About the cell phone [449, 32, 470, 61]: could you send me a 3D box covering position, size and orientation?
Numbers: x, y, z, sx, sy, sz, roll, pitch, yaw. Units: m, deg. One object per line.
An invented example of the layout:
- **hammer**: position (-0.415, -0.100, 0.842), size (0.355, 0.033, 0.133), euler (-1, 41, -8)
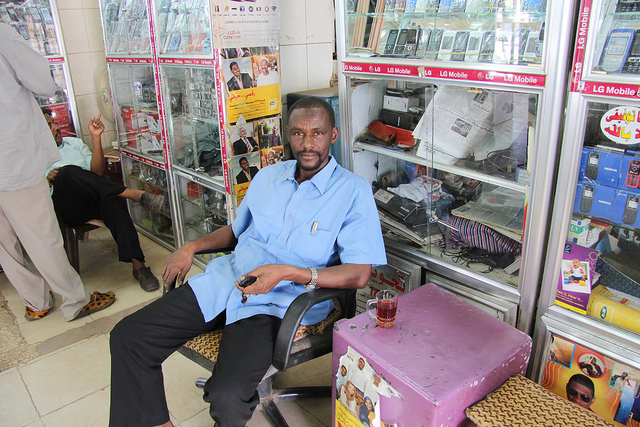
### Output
- **cell phone**: position (0.733, -0.890, 2.071), size (0.085, 0.159, 0.016), euler (13, 56, 22)

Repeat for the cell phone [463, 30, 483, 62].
- **cell phone**: position (0.794, -0.862, 2.005), size (0.081, 0.136, 0.062), euler (15, 27, 28)

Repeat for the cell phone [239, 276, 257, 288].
- **cell phone**: position (-0.362, 0.339, 1.916), size (0.041, 0.021, 0.071), euler (26, 44, 37)

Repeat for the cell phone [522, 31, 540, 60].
- **cell phone**: position (1.006, -0.791, 1.841), size (0.053, 0.114, 0.049), euler (23, 31, 39)

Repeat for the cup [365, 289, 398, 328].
- **cup**: position (0.340, 0.480, 2.054), size (0.194, 0.191, 0.129), euler (-8, 25, -17)

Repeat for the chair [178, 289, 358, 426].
- **chair**: position (-0.282, 0.771, 2.099), size (0.625, 0.778, 0.663), euler (-13, 22, -40)

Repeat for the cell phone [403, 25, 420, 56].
- **cell phone**: position (0.524, -0.980, 2.234), size (0.079, 0.142, 0.078), euler (13, 26, 24)

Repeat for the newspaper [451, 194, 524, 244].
- **newspaper**: position (1.032, 0.000, 2.308), size (0.280, 0.091, 0.300), euler (16, 40, 36)
